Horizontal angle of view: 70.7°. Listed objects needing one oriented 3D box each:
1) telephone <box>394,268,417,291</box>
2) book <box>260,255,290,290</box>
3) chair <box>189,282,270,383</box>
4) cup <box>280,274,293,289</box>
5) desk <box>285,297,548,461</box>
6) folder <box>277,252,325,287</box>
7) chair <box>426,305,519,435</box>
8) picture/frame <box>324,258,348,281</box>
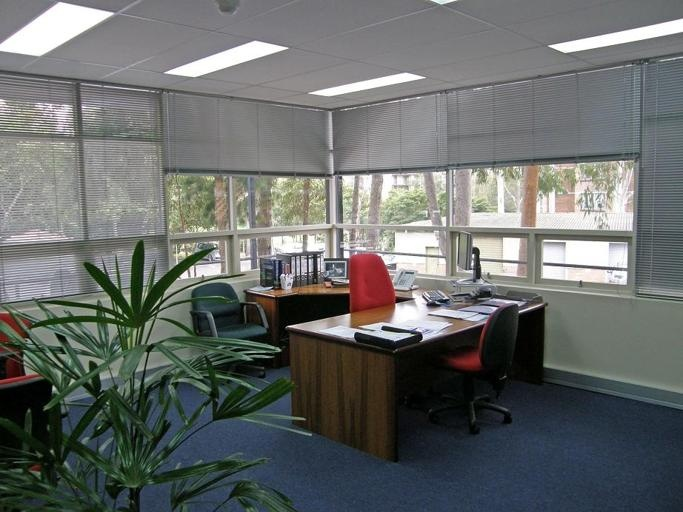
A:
[{"bbox_3d":[0.744,0.272,5.688,0.244,0.218,0.230,0,9,7],"label":"telephone"},{"bbox_3d":[-0.854,0.144,6.080,0.398,0.463,0.513,-3,6,-37],"label":"book"},{"bbox_3d":[-1.231,0.819,5.382,0.828,0.886,0.815,4,7,40],"label":"chair"},{"bbox_3d":[-0.669,0.310,5.896,0.171,0.193,0.192,2,2,36],"label":"cup"},{"bbox_3d":[0.858,0.958,4.673,2.535,0.919,1.168,-9,12,-41],"label":"desk"},{"bbox_3d":[-0.478,0.129,6.195,0.420,0.505,0.769,6,7,37],"label":"folder"},{"bbox_3d":[1.178,0.931,4.308,0.731,1.006,0.710,2,1,-39],"label":"chair"},{"bbox_3d":[-0.076,0.187,6.297,0.325,0.239,0.022,2,-12,-5],"label":"picture/frame"}]
